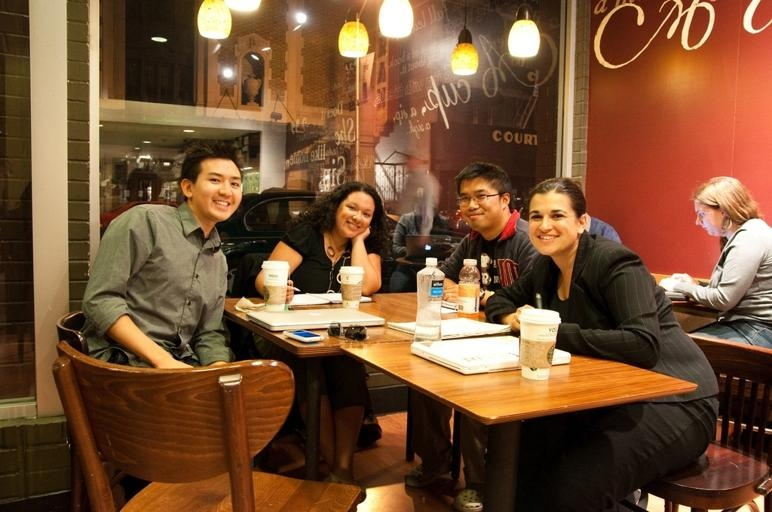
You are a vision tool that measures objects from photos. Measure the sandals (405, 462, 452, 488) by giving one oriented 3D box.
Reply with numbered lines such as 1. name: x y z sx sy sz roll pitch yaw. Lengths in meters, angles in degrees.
1. sandals: 0.261 1.317 3.344 0.296 0.126 0.113 3 -2 -21

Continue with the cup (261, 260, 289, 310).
1. cup: -0.556 0.154 2.826 0.139 0.252 0.112 -6 9 -32

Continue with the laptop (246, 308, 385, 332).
1. laptop: -0.342 0.319 2.640 0.667 0.066 0.296 -2 7 -7

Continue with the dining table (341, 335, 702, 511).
1. dining table: 0.490 0.647 2.140 1.269 0.491 0.672 -2 7 -7

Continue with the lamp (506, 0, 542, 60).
1. lamp: 1.081 -1.813 4.379 0.235 0.478 0.458 1 8 11

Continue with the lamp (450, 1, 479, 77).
1. lamp: 0.638 -1.707 4.308 0.300 0.575 0.187 -7 10 -38

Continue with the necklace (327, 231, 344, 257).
1. necklace: -0.334 -0.076 3.599 0.109 0.147 0.060 1 -18 -30

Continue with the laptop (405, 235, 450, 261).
1. laptop: 0.331 -0.015 4.374 0.298 0.204 0.196 0 -27 -2

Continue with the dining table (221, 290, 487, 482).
1. dining table: -0.141 0.673 3.030 1.214 0.713 1.187 -2 9 -22
